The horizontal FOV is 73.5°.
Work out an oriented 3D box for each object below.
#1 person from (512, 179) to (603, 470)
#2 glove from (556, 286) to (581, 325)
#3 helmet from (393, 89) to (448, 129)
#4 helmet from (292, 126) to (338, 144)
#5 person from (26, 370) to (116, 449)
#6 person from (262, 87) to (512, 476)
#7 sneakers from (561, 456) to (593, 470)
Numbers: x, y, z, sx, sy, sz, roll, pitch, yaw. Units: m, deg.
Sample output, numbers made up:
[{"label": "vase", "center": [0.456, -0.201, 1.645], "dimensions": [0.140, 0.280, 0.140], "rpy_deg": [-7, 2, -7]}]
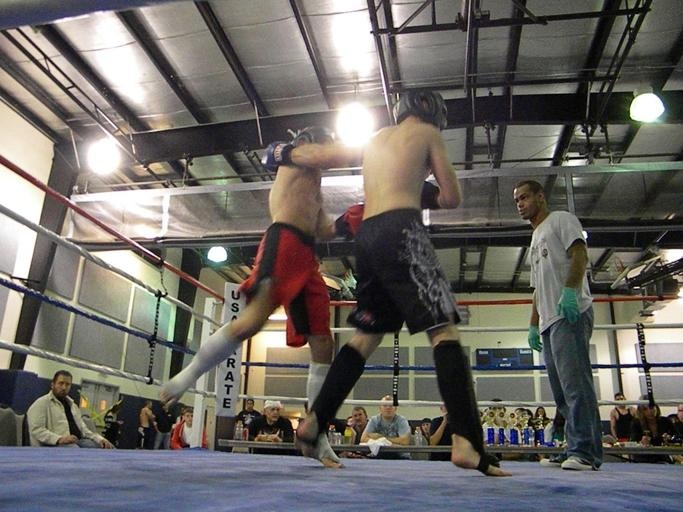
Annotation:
[{"label": "person", "center": [1.234, 0.242, 2.550], "dimensions": [0.329, 1.746, 0.679], "rpy_deg": [-9, -23, 21]}, {"label": "glove", "center": [1.095, 0.230, 2.242], "dimensions": [0.057, 0.155, 0.119], "rpy_deg": [3, -14, -9]}, {"label": "helmet", "center": [0.339, -0.600, 1.956], "dimensions": [0.215, 0.185, 0.161], "rpy_deg": [0, -26, -3]}, {"label": "helmet", "center": [-0.123, -0.572, 2.125], "dimensions": [0.157, 0.078, 0.115], "rpy_deg": [-1, 0, -11]}, {"label": "person", "center": [-2.910, 1.622, 4.891], "dimensions": [0.606, 0.773, 0.666], "rpy_deg": [-6, -22, 14]}, {"label": "person", "center": [0.201, 0.104, 1.766], "dimensions": [0.362, 1.308, 0.596], "rpy_deg": [20, -29, -41]}, {"label": "sneakers", "center": [1.061, 0.943, 2.086], "dimensions": [0.141, 0.056, 0.047], "rpy_deg": [8, -35, 6]}]
